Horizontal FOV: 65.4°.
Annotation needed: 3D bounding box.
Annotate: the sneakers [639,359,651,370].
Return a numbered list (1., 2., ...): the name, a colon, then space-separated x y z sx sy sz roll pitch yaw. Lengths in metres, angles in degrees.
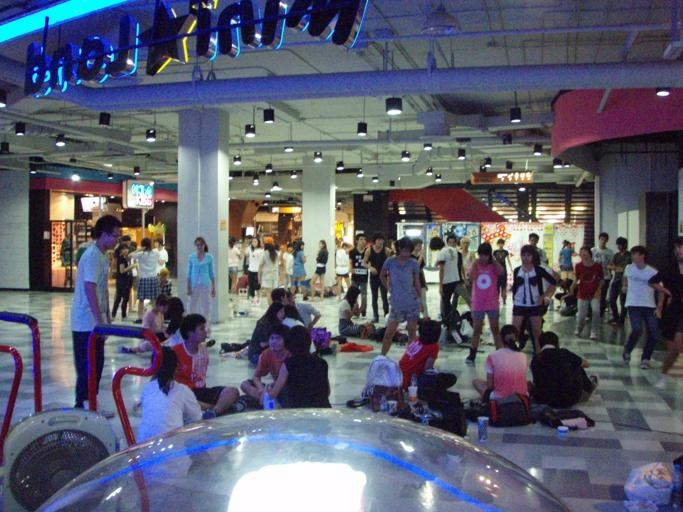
1. sneakers: 4.041 1.454 7.118 0.068 0.080 0.182 -1 -11 11

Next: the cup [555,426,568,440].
1. cup: 1.911 1.547 4.645 0.089 0.087 0.101 4 -10 -2

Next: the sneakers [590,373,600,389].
1. sneakers: 2.839 1.431 6.042 0.107 0.137 0.337 -2 1 20

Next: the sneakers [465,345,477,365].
1. sneakers: 1.746 1.374 7.292 0.106 0.221 0.300 -1 -11 21

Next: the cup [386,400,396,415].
1. cup: 0.426 1.312 4.603 0.103 0.106 0.086 -9 4 -18

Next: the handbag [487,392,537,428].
1. handbag: 1.545 1.434 4.957 0.428 0.323 0.302 -5 -11 2

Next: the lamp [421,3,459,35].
1. lamp: 1.182 -2.845 6.457 0.425 0.468 0.455 0 -1 10

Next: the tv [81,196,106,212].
1. tv: -9.706 -2.131 20.815 0.954 0.663 0.544 5 39 -13
